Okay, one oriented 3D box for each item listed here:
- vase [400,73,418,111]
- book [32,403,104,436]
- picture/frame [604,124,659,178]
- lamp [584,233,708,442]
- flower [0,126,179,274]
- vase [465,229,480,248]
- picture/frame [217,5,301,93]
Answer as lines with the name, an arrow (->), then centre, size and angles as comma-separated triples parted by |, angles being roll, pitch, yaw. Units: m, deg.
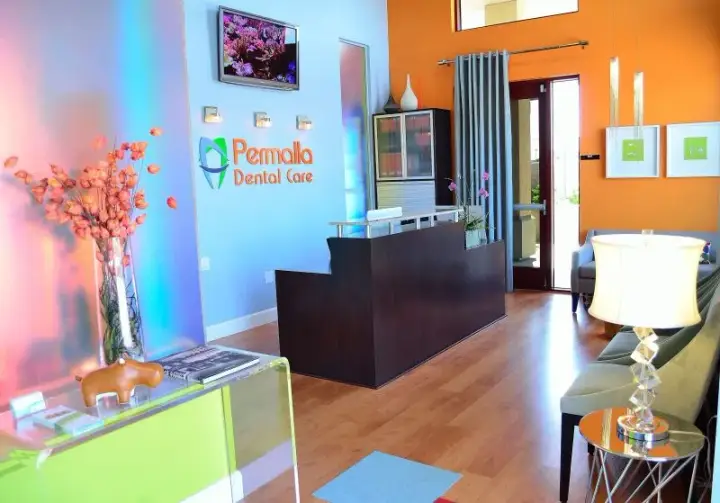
vase -> 0.736, -2.339, 7.607 | 0.242, 0.563, 0.429 | -1, 10, 8
book -> -1.032, 0.597, 1.826 | 0.245, 0.052, 0.104 | 1, 11, 19
picture/frame -> 3.367, -1.243, 6.360 | 0.634, 0.722, 0.050 | 2, 6, 35
lamp -> 1.369, 0.412, 2.504 | 0.496, 0.977, 0.489 | -1, 10, 7
flower -> -1.021, -0.165, 2.063 | 0.480, 0.481, 0.574 | 1, -1, -8
vase -> 1.224, -0.139, 5.595 | 0.155, 0.210, 0.295 | 3, 6, 33
picture/frame -> -1.170, -2.264, 5.792 | 0.113, 0.817, 1.105 | 10, 12, 42
